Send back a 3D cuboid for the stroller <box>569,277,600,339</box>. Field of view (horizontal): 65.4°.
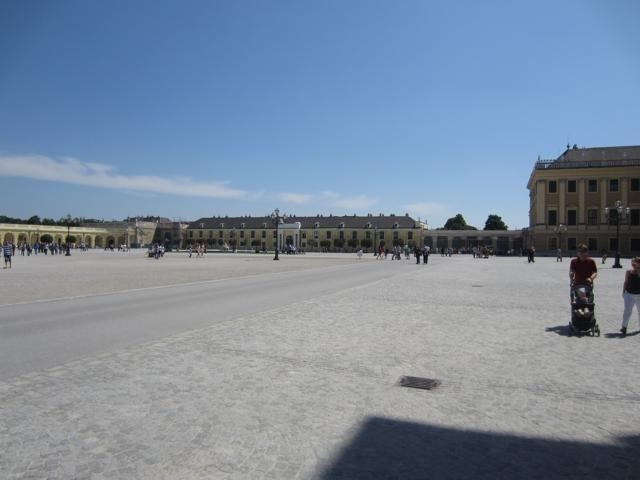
[{"bbox_3d":[5.680,1.452,10.772,0.561,1.112,1.074,-1,-1,25],"label":"stroller"}]
